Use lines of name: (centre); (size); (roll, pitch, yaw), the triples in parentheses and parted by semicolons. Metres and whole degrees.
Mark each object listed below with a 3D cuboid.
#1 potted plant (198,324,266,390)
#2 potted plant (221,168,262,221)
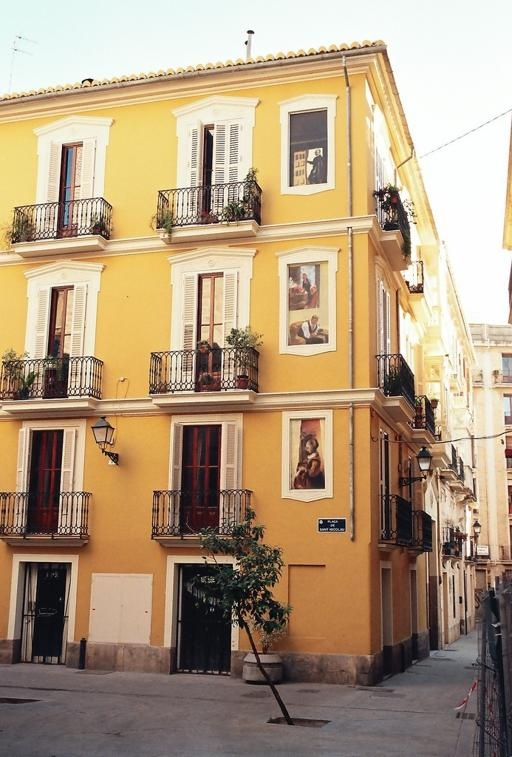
potted plant: (-0.465, -0.417, 18.505); (1.215, 1.223, 0.436); (-6, -10, 41)
potted plant: (-0.302, -3.926, 19.133); (0.825, 1.303, 0.520); (0, -12, 0)
